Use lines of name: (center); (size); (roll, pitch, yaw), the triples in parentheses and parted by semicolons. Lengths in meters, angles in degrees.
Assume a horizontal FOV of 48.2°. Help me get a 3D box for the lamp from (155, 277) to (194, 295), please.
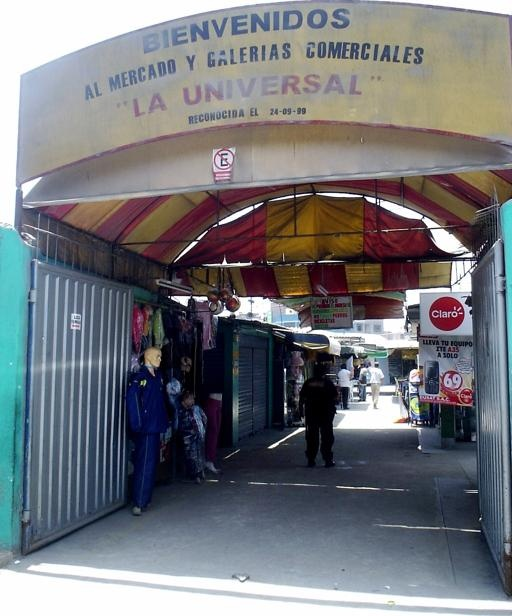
lamp: (-1.401, -0.381, 9.609); (0.140, 0.119, 0.694); (26, 6, 28)

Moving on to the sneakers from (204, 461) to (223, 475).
sneakers: (-0.640, 2.408, 8.652); (0.103, 0.142, 0.339); (5, -10, -35)

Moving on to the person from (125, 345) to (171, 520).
person: (-1.197, 1.298, 6.186); (0.468, 1.761, 0.300); (6, -9, -43)

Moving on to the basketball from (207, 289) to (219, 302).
basketball: (-0.804, -0.246, 10.779); (0.202, 0.254, 0.210); (-1, -1, 7)

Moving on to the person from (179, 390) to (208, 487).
person: (-0.862, 1.761, 7.831); (0.300, 1.228, 0.507); (-1, -7, 11)

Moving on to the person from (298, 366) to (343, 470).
person: (1.055, 1.769, 9.545); (0.597, 1.658, 0.971); (1, -6, -6)

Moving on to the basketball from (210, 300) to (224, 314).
basketball: (-0.733, -0.023, 10.565); (0.260, 0.282, 0.451); (1, -6, -5)
